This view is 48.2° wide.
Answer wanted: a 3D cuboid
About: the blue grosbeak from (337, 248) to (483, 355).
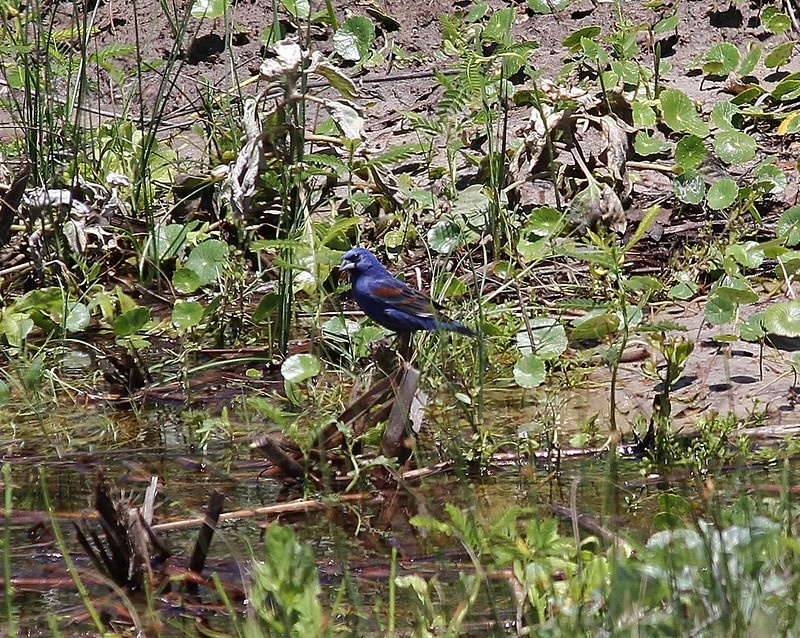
[{"bbox_3d":[0.032,-0.085,4.062,0.678,0.411,0.224,5,3,-15],"label":"blue grosbeak"}]
